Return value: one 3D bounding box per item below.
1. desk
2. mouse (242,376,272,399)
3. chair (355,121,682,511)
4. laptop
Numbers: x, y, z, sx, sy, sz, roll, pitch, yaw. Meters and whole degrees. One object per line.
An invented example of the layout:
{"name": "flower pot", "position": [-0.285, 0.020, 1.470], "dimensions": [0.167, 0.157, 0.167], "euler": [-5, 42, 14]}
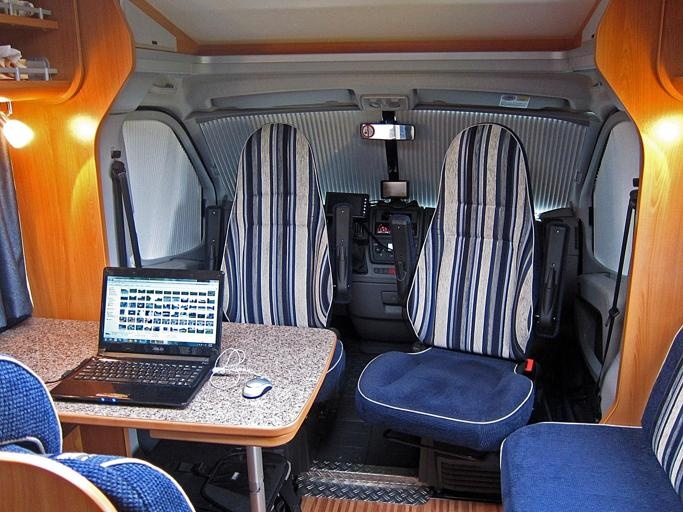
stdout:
{"name": "desk", "position": [-0.536, 0.628, 1.886], "dimensions": [1.263, 0.775, 0.685], "euler": [1, 17, 4]}
{"name": "mouse", "position": [-0.274, 0.424, 1.632], "dimensions": [0.085, 0.042, 0.142], "euler": [2, 8, 7]}
{"name": "chair", "position": [0.492, 0.058, 2.128], "dimensions": [0.695, 1.286, 0.680], "euler": [5, 10, 23]}
{"name": "laptop", "position": [-0.658, 0.276, 1.714], "dimensions": [0.499, 0.323, 0.447], "euler": [3, 16, 9]}
